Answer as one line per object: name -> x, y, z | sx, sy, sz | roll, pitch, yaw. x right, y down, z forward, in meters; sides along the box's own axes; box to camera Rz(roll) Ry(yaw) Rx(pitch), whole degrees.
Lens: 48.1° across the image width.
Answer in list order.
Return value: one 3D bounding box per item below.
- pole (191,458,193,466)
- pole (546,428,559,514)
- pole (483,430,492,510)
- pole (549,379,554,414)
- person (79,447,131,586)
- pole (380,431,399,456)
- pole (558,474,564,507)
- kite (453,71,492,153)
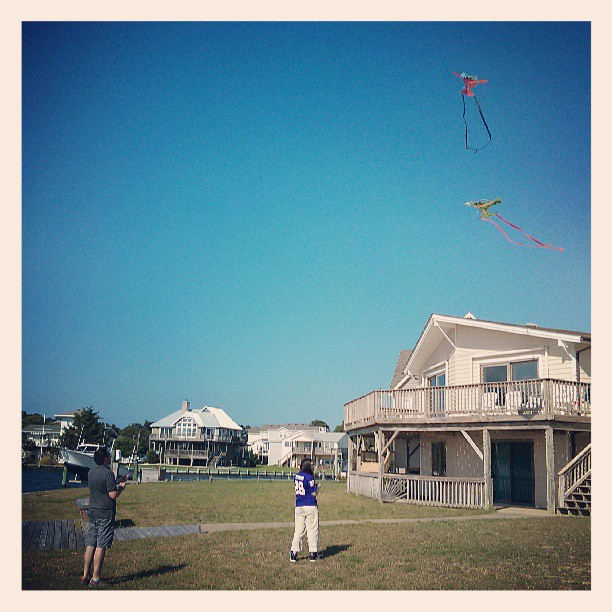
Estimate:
pole -> -14.401, 19.348, 85.045 | 0.163, 0.813, 0.601 | 2, -9, -9
pole -> 6.948, 4.782, 19.776 | 0.366, 2.755, 0.392 | 4, 16, 38
pole -> 5.541, 4.694, 21.280 | 0.168, 2.170, 0.201 | 5, 32, 24
pole -> 7.152, 2.689, 20.207 | 0.104, 0.983, 0.398 | -4, -9, 30
person -> -3.390, 3.462, 11.339 | 0.631, 2.190, 1.215 | 3, -9, -19
pole -> 2.887, 4.824, 24.021 | 0.543, 0.813, 1.617 | -2, -11, 16
pole -> 7.391, 5.408, 20.068 | 0.148, 0.906, 0.342 | -3, -8, 22
kite -> 4.216, -4.957, 17.731 | 0.863, 2.265, 0.468 | -4, -16, 10
